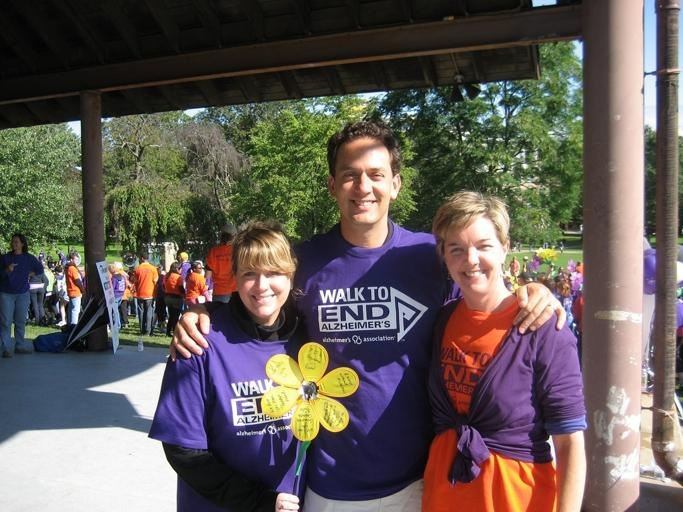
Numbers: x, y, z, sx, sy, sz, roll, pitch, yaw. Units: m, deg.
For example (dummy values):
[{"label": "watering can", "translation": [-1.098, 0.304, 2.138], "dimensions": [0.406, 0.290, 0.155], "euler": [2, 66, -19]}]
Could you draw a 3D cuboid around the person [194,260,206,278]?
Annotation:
[{"label": "person", "translation": [-3.537, 0.328, 15.241], "dimensions": [0.402, 0.396, 0.706], "euler": [3, -1, -3]}]
